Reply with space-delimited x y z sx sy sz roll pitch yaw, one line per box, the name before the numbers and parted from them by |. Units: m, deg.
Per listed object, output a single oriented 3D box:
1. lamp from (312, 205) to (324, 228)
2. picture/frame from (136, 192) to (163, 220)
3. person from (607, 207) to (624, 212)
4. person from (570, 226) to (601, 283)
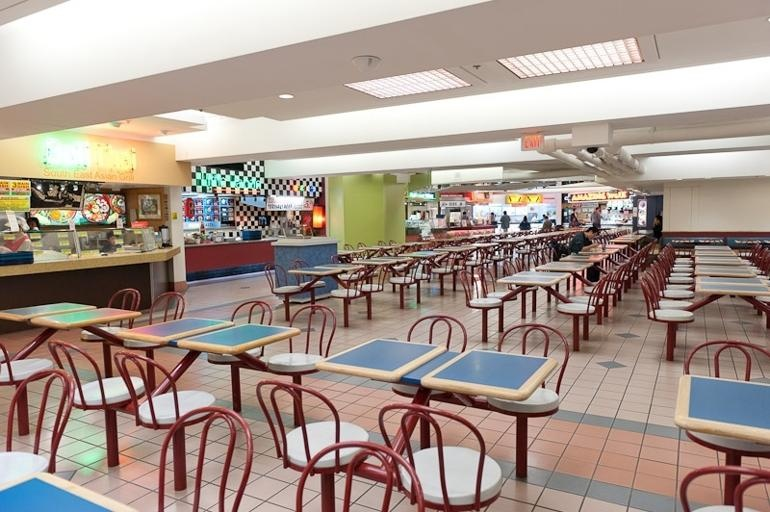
lamp | -2.043 -1.193 14.034 0.407 0.679 0.175 -2 9 -10
picture/frame | -5.081 -1.091 9.973 0.747 0.526 0.051 3 4 28
person | 15.747 -3.263 31.729 0.939 0.307 0.177 3 9 27
person | 4.465 -0.117 10.330 0.744 1.080 0.582 7 6 34
